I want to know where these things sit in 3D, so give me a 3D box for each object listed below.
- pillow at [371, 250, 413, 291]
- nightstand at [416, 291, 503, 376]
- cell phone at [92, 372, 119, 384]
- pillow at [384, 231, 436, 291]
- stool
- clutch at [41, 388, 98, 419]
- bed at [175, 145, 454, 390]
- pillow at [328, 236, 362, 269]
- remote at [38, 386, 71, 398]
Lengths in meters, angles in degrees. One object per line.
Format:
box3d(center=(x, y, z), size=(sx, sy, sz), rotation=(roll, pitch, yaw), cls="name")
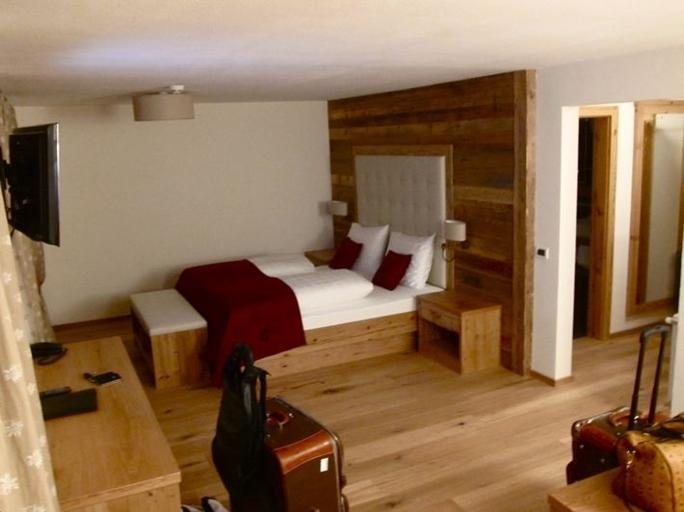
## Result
box3d(center=(0.554, 0.168, 5.919), size=(0.139, 0.399, 0.453), rotation=(29, -6, -31), cls="pillow")
box3d(center=(1.189, 0.738, 5.452), size=(0.492, 0.667, 0.778), rotation=(-12, 20, -26), cls="nightstand")
box3d(center=(-1.397, 0.718, 3.156), size=(0.077, 0.018, 0.073), rotation=(-6, 12, -39), cls="cell phone")
box3d(center=(0.773, 0.048, 5.964), size=(0.342, 0.576, 0.529), rotation=(-5, 14, -35), cls="pillow")
box3d(center=(-1.469, 0.747, 5.542), size=(0.803, 0.852, 1.256), rotation=(-6, 10, -28), cls="stool")
box3d(center=(-1.467, 0.796, 2.864), size=(0.225, 0.051, 0.223), rotation=(-4, 12, -30), cls="clutch")
box3d(center=(-0.243, 0.004, 6.319), size=(2.818, 2.347, 2.498), rotation=(-7, 15, -24), cls="bed")
box3d(center=(0.038, 0.010, 6.605), size=(0.120, 0.368, 0.399), rotation=(28, 4, -30), cls="pillow")
box3d(center=(-1.619, 0.762, 2.998), size=(0.106, 0.024, 0.057), rotation=(-5, 8, -34), cls="remote")
